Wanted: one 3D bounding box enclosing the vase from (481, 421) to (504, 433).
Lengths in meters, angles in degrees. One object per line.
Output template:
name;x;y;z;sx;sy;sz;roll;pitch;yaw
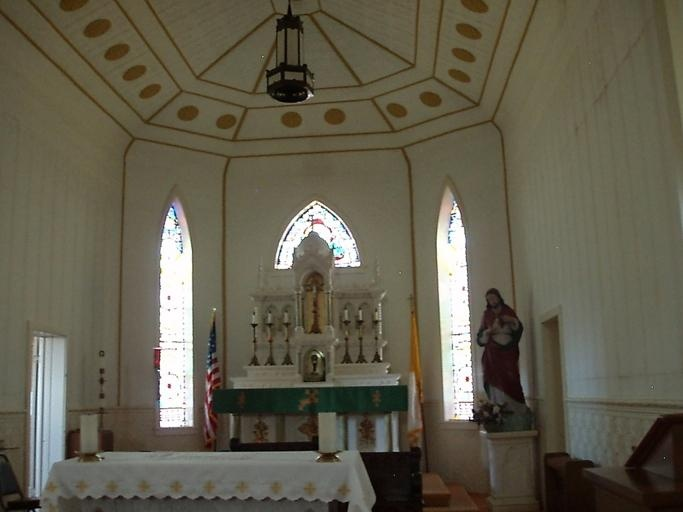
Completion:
vase;2.227;2.511;9.792;0.172;0.135;0.184;-1;-11;4

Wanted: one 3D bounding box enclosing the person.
person;2.426;1.440;10.235;0.631;1.937;0.578;-2;-4;22

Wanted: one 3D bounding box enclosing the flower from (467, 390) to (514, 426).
flower;2.244;2.300;9.912;0.531;0.410;0.359;7;-16;-33

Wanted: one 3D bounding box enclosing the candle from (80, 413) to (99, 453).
candle;-2.346;1.665;6.217;0.149;0.350;0.218;4;-15;-24

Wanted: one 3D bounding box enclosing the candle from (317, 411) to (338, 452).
candle;-0.118;1.572;5.924;0.156;0.340;0.261;-1;-14;-4

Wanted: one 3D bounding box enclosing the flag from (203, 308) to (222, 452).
flag;-2.219;2.077;11.532;0.285;2.462;0.753;1;-13;-12
